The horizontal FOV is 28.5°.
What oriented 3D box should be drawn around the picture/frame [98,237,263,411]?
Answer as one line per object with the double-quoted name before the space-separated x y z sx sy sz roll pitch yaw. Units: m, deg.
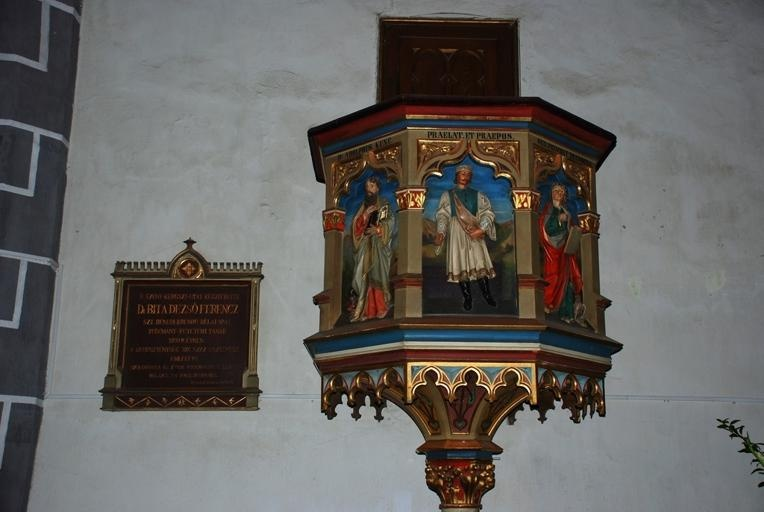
"picture/frame" -2.192 0.821 16.323 1.623 1.959 0.276 1 -13 -2
